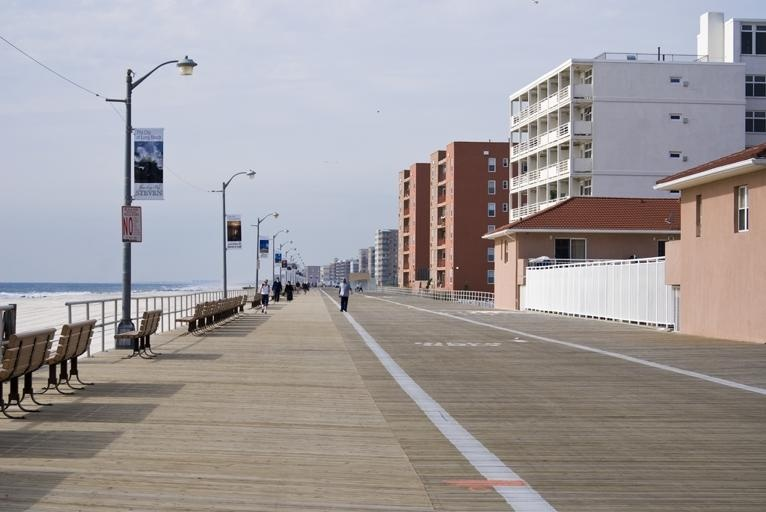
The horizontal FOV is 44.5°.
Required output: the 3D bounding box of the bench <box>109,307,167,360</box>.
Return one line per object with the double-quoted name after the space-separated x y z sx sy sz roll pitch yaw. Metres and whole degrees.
-6.020 1.941 23.614 0.771 1.182 2.293 1 -4 -13 "bench"
